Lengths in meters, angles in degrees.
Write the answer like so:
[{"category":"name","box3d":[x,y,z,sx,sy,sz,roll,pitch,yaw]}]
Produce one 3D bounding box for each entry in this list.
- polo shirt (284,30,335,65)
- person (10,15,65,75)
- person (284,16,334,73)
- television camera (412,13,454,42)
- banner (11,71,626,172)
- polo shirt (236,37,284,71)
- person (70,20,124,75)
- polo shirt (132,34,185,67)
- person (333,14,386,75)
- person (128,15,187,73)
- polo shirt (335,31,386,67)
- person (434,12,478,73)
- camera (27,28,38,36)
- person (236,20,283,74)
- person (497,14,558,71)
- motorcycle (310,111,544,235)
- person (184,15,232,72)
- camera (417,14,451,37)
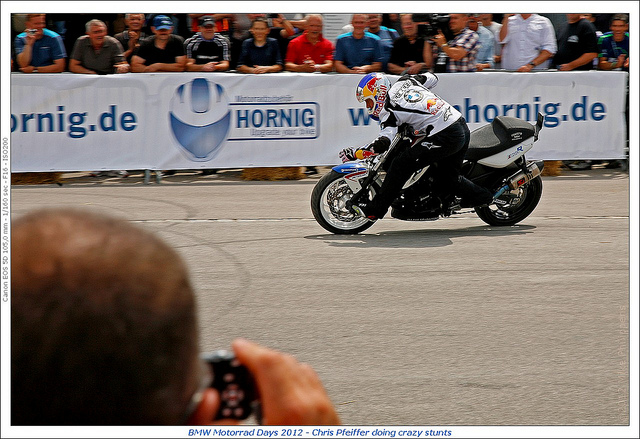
[{"category":"polo shirt","box3d":[-0.191,-3.179,11.154,0.913,0.626,0.386,0,16,-1]},{"category":"person","box3d":[-4.966,-3.109,10.668,0.818,0.988,0.703,-6,17,-22]},{"category":"person","box3d":[-0.192,-3.198,11.027,0.908,0.986,0.628,0,16,-2]},{"category":"television camera","box3d":[2.069,-3.529,11.056,0.672,0.538,0.220,2,0,13]},{"category":"banner","box3d":[-0.471,-1.712,10.098,10.346,1.599,0.103,1,0,12]},{"category":"polo shirt","box3d":[-1.084,-3.000,10.963,0.871,0.581,0.426,-2,16,-8]},{"category":"person","box3d":[-3.941,-2.859,10.719,0.990,1.297,0.798,-4,13,-20]},{"category":"polo shirt","box3d":[-2.905,-3.061,10.938,0.888,0.571,0.564,-3,15,-11]},{"category":"person","box3d":[0.721,-3.187,10.957,0.968,1.026,0.607,0,16,0]},{"category":"person","box3d":[-2.893,-3.035,11.009,1.089,1.143,0.727,4,19,1]},{"category":"polo shirt","box3d":[0.729,-3.091,11.050,0.844,0.514,0.316,-2,20,-3]},{"category":"person","box3d":[2.429,-3.154,10.803,0.731,0.988,0.412,3,16,10]},{"category":"camera","box3d":[-5.065,-3.311,10.698,0.212,0.098,0.084,-1,-2,-9]},{"category":"person","box3d":[-1.092,-3.107,10.802,0.813,0.942,0.923,0,15,0]},{"category":"person","box3d":[3.904,-3.334,11.368,1.124,1.204,0.712,14,51,29]},{"category":"motorcycle","box3d":[1.365,-0.575,7.360,3.123,1.345,1.102,-4,18,-16]},{"category":"person","box3d":[-2.032,-3.167,10.855,0.818,0.971,0.910,-2,15,-8]},{"category":"camera","box3d":[2.036,-3.509,10.943,0.548,0.400,0.199,2,16,6]}]
